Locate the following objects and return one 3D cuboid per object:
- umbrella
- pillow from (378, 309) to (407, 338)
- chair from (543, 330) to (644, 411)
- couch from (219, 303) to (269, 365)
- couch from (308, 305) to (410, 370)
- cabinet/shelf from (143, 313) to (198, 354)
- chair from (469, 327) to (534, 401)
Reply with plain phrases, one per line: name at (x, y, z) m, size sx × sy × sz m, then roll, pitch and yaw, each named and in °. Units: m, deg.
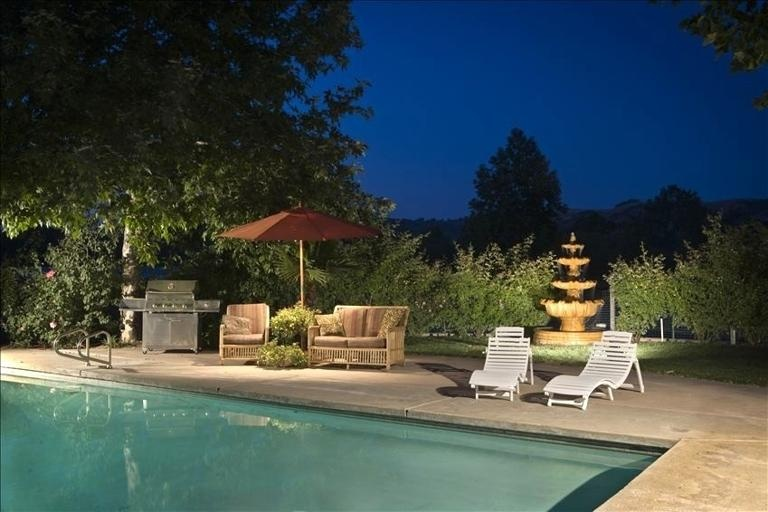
umbrella at (-2.259, 0.361, 15.244) m, size 3.020 × 2.016 × 2.835 m, roll -1°, pitch 3°, yaw -31°
pillow at (0.174, 1.502, 14.356) m, size 0.174 × 0.637 × 0.622 m, roll 26°, pitch -11°, yaw -24°
chair at (3.662, 1.958, 10.765) m, size 2.125 × 1.074 × 0.854 m, roll -3°, pitch 2°, yaw -45°
couch at (-3.479, 1.888, 15.338) m, size 1.104 × 1.538 × 1.547 m, roll 1°, pitch -8°, yaw -2°
couch at (-0.597, 1.933, 14.589) m, size 2.096 × 1.393 × 1.239 m, roll -1°, pitch -3°, yaw 24°
cabinet/shelf at (-5.903, 2.070, 17.296) m, size 1.530 × 1.214 × 1.005 m, roll 1°, pitch 0°, yaw -1°
chair at (2.217, 1.931, 11.346) m, size 0.923 × 1.164 × 2.053 m, roll 0°, pitch -1°, yaw 17°
